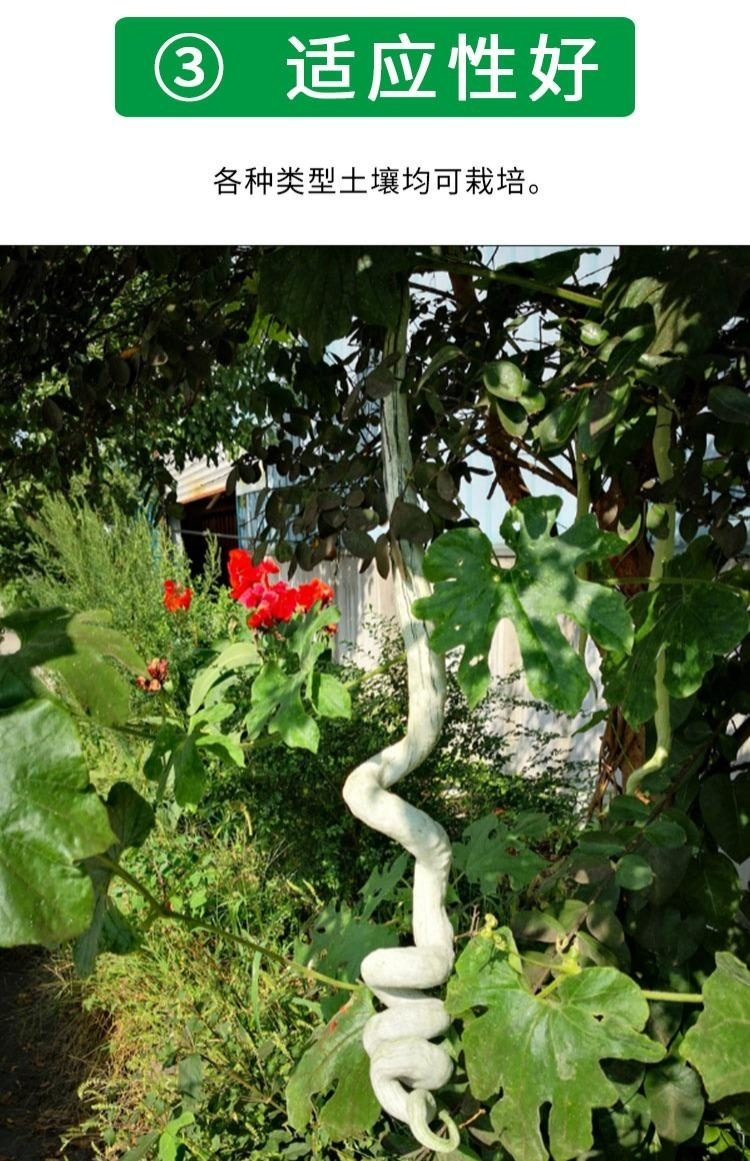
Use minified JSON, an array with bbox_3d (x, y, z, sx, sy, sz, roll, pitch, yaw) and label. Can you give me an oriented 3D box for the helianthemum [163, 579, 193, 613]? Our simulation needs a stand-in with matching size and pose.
[{"bbox_3d":[-0.821,0.050,3.568,0.131,0.151,0.066,0,-8,12],"label":"helianthemum"}]
